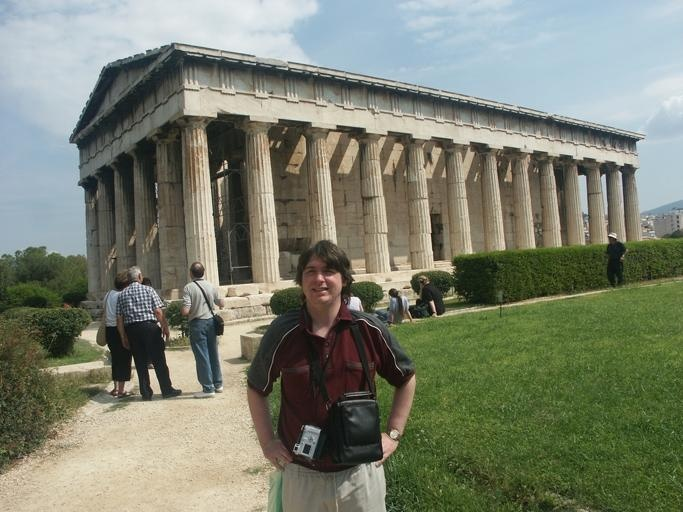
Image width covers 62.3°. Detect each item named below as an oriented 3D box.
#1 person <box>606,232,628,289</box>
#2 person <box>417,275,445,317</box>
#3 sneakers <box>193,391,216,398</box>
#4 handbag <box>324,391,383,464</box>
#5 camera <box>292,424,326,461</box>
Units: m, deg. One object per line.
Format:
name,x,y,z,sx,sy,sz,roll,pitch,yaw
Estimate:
person,9.676,0.188,19.918,0.603,2.106,1.263,-2,13,26
person,2.608,1.205,16.955,0.699,1.207,0.646,-4,10,44
sneakers,-2.547,2.592,10.474,0.369,0.165,0.140,4,-4,5
handbag,0.096,1.419,4.668,0.441,0.549,0.237,-10,11,-7
camera,-0.261,1.575,4.730,0.218,0.307,0.163,15,-8,24
